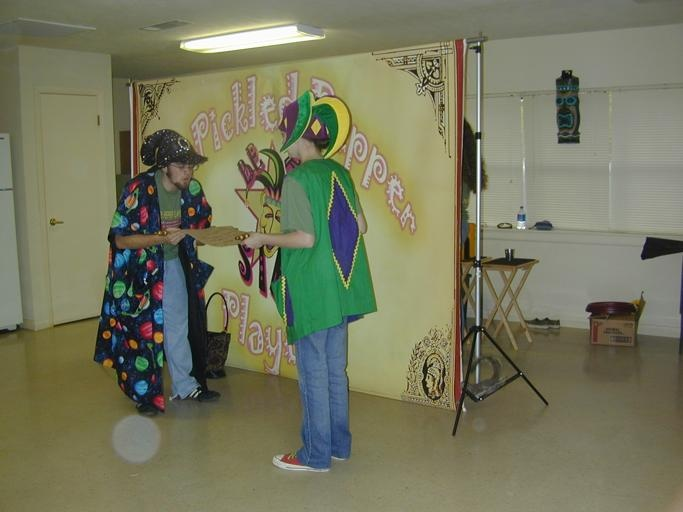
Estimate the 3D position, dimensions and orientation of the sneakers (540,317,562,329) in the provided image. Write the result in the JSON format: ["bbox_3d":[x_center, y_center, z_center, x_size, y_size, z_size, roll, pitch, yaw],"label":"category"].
[{"bbox_3d":[2.648,0.852,7.437,0.315,0.113,0.119,3,3,13],"label":"sneakers"}]

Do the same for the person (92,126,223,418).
[{"bbox_3d":[-1.636,0.132,5.046,1.022,2.387,0.654,-4,12,-14],"label":"person"}]

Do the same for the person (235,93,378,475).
[{"bbox_3d":[-0.176,0.209,4.044,0.796,2.623,0.530,-3,12,-9],"label":"person"}]

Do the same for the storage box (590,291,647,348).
[{"bbox_3d":[3.215,0.738,6.757,0.556,0.459,0.485,0,5,23],"label":"storage box"}]

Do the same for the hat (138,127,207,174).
[{"bbox_3d":[-1.494,-0.915,5.049,0.438,0.270,0.348,-7,17,-8],"label":"hat"}]

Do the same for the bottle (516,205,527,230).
[{"bbox_3d":[2.404,-0.513,7.724,0.142,0.297,0.172,3,12,16],"label":"bottle"}]

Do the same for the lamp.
[{"bbox_3d":[-1.012,-2.480,6.604,1.632,0.161,0.597,6,15,28],"label":"lamp"}]

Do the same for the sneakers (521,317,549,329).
[{"bbox_3d":[2.508,0.868,7.491,0.346,0.138,0.137,6,6,44],"label":"sneakers"}]
